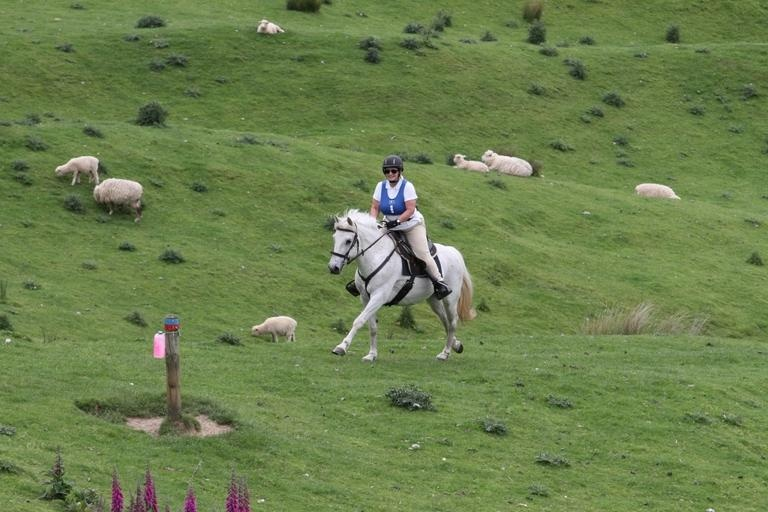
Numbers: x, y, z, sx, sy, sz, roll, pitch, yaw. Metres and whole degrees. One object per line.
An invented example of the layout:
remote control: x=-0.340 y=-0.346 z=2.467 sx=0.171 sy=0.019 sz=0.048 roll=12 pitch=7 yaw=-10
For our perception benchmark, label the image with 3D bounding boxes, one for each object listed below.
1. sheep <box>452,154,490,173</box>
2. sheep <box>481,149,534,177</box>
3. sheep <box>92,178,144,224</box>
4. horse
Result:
sheep: x=5.391 y=-5.759 z=104.781 sx=2.693 sy=1.045 sz=0.934 roll=17 pitch=5 yaw=18
sheep: x=7.760 y=-5.890 z=105.793 sx=2.817 sy=0.969 sz=1.636 roll=14 pitch=13 yaw=28
sheep: x=-14.287 y=-2.814 z=92.818 sx=3.483 sy=2.913 sz=1.781 roll=4 pitch=0 yaw=17
horse: x=0.747 y=1.620 z=82.929 sx=2.929 sy=7.081 sz=10.248 roll=2 pitch=0 yaw=41
